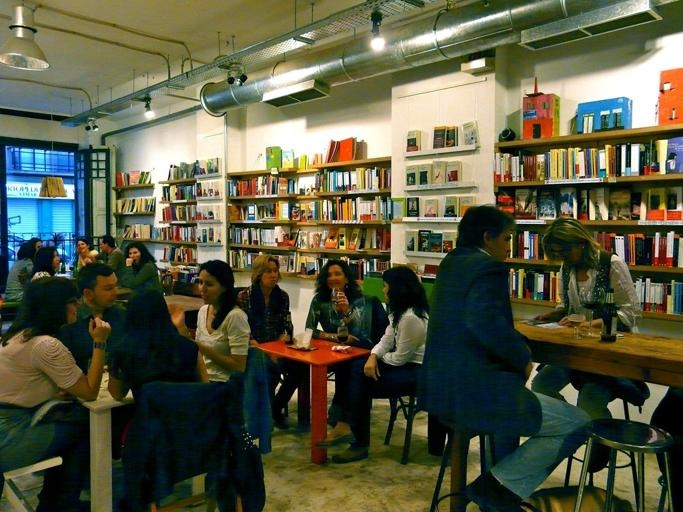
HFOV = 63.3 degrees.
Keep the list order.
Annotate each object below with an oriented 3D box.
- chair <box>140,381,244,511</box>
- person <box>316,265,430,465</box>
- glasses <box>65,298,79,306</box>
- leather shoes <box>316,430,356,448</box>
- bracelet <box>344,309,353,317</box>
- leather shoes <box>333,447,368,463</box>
[{"bbox_3d":[-0.498,0.587,1.900,0.370,0.484,0.379,1,3,-11],"label":"chair"},{"bbox_3d":[0.288,0.770,3.981,0.642,1.417,0.316,0,8,8],"label":"person"},{"bbox_3d":[-1.125,0.192,2.327,0.036,0.036,0.011,13,-1,30],"label":"glasses"},{"bbox_3d":[-0.038,1.298,3.954,0.268,0.111,0.095,4,-18,-33],"label":"leather shoes"},{"bbox_3d":[0.063,0.453,4.349,0.047,0.035,0.061,-1,1,-5],"label":"bracelet"},{"bbox_3d":[0.072,1.428,4.019,0.218,0.083,0.108,3,-3,-14],"label":"leather shoes"}]
